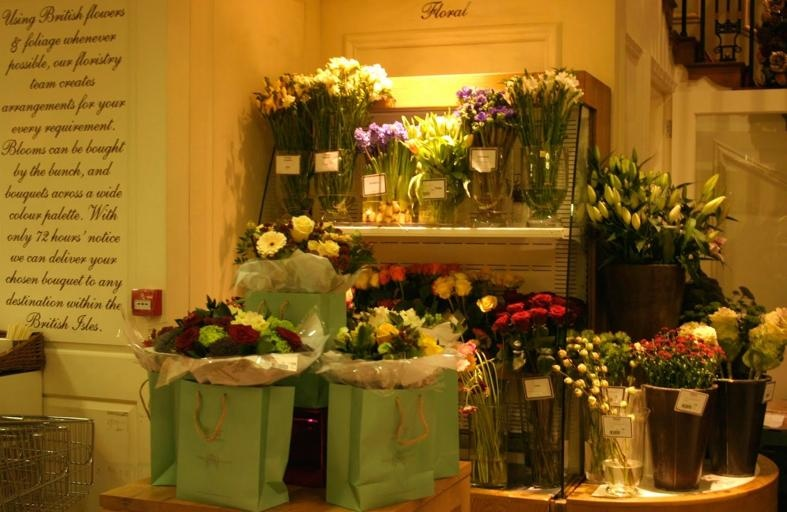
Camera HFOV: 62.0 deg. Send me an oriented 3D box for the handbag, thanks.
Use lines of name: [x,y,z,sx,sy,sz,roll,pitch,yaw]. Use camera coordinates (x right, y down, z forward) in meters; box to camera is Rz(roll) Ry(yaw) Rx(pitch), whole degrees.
handbag: [-0.347,0.589,2.638,1.227,0.773,0.489,-1,-2,-18]

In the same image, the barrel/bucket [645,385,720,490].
barrel/bucket: [1.534,0.956,3.591,0.438,0.579,0.423,-2,4,0]

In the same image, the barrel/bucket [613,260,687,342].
barrel/bucket: [1.604,0.224,4.037,0.439,0.520,0.450,-5,17,2]
